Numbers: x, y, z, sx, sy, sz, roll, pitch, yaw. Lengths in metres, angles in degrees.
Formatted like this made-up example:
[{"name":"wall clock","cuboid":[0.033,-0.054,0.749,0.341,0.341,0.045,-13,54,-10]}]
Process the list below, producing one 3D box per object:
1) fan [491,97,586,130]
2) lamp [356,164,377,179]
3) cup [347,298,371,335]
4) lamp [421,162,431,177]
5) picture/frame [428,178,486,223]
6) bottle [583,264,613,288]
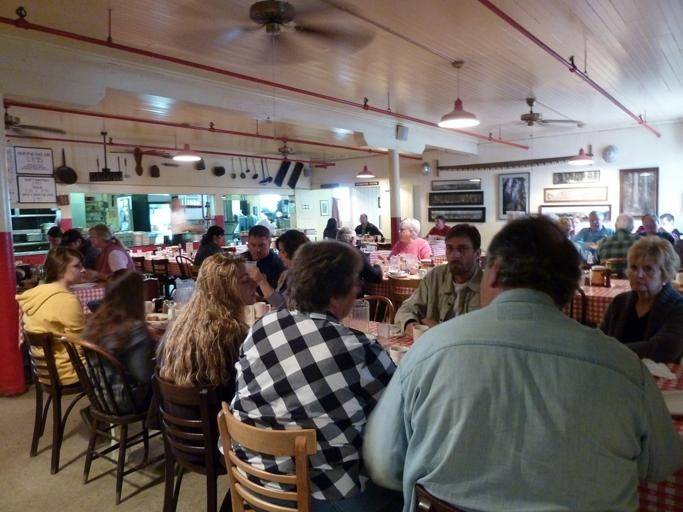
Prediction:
[{"name":"fan","cuboid":[3.110,-2.281,8.019,0.723,0.240,0.720,-5,7,-25]},{"name":"lamp","cuboid":[0.452,-1.802,11.166,0.478,0.279,0.462,0,1,44]},{"name":"cup","cuboid":[0.093,0.367,3.161,0.156,0.209,0.154,1,5,0]},{"name":"lamp","cuboid":[2.011,-2.083,12.027,0.222,0.283,0.345,1,6,17]},{"name":"picture/frame","cuboid":[2.725,-1.305,11.713,1.216,0.842,0.053,8,16,36]},{"name":"bottle","cuboid":[2.388,0.190,4.724,0.230,0.195,0.219,-2,0,-11]}]
